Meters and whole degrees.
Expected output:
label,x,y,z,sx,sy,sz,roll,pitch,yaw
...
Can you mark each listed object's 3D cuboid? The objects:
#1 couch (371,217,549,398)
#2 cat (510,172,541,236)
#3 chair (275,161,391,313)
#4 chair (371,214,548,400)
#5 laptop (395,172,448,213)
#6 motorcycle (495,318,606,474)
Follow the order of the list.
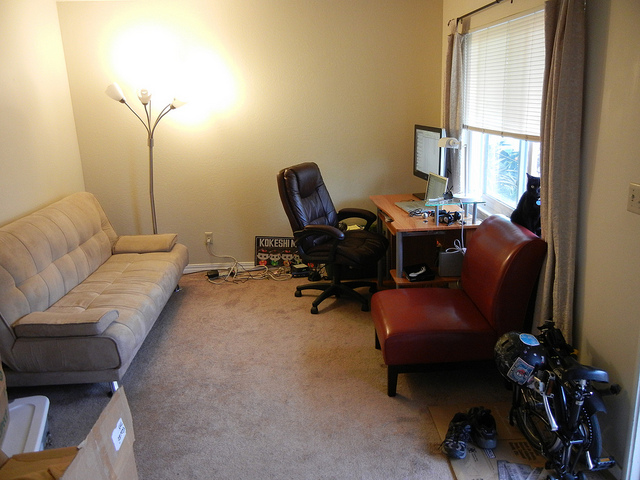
label,x,y,z,sx,sy,sz,roll,pitch,yaw
couch,0.877,0.448,3.135,0.999,1.007,0.515,-5,20,-2
cat,1.445,-0.249,3.221,0.261,0.387,0.546,3,7,19
chair,0.134,-0.031,4.265,0.865,1.244,0.835,7,18,31
chair,0.965,0.350,3.512,1.176,1.367,0.942,-1,12,-5
laptop,0.897,-0.415,4.025,0.302,0.292,0.417,-4,21,-2
motorcycle,1.217,0.865,2.492,0.526,0.753,0.390,13,26,39
